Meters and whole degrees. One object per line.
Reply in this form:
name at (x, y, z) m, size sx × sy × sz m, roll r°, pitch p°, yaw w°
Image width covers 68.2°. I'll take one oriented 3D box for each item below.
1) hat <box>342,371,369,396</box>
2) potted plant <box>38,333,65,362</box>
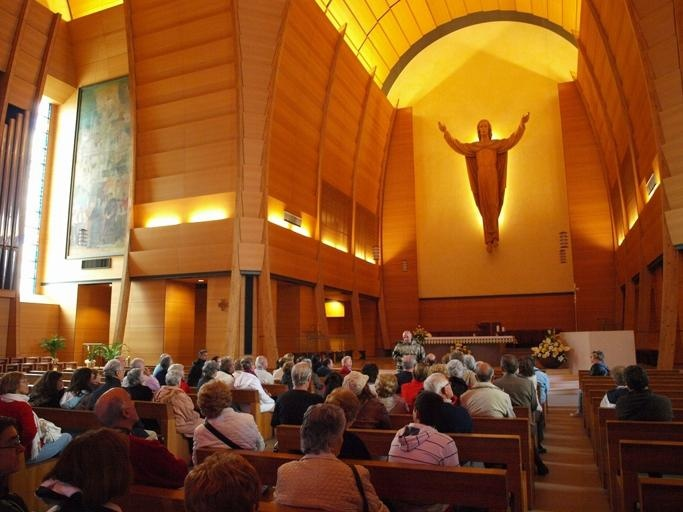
hat at (0.158, 1.268, 5.103) m, size 0.185 × 0.106 × 0.284 m, roll 2°, pitch 12°, yaw 17°
potted plant at (-9.697, 3.155, 17.198) m, size 0.798 × 0.862 × 0.816 m, roll -8°, pitch -13°, yaw 34°
